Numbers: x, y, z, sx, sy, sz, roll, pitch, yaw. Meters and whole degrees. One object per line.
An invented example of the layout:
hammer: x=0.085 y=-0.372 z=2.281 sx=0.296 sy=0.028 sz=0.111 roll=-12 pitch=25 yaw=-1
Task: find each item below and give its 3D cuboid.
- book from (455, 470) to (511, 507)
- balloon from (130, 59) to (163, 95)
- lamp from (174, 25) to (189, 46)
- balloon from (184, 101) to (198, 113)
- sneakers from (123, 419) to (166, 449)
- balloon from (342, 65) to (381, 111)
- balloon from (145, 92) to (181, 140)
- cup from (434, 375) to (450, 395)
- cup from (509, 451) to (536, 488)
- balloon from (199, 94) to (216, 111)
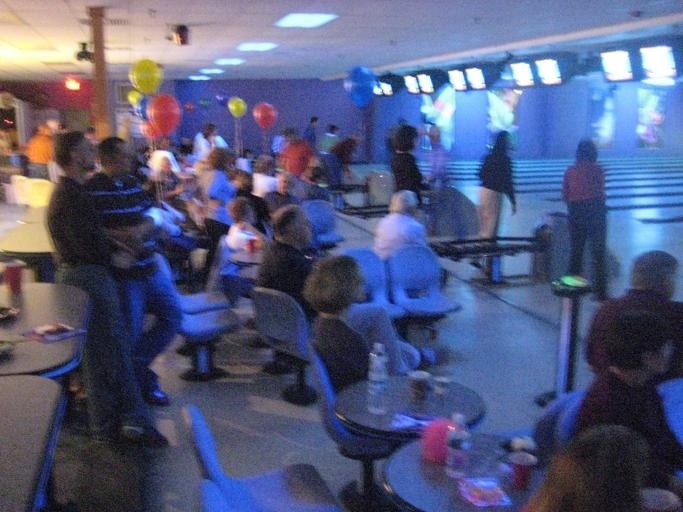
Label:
book: x=0.473 y=0.795 z=1.871 sx=0.159 sy=0.037 sz=0.145 roll=-2 pitch=7 yaw=-7
balloon: x=-2.442 y=-2.270 z=6.891 sx=0.330 sy=0.413 sz=0.398 roll=-5 pitch=8 yaw=-23
lamp: x=-2.399 y=-3.345 z=8.273 sx=0.221 sy=0.307 sz=0.400 roll=-3 pitch=8 yaw=-15
balloon: x=-4.665 y=-4.632 z=17.139 sx=0.386 sy=0.249 sz=0.442 roll=-2 pitch=6 yaw=-20
sneakers: x=-1.069 y=0.981 z=3.058 sx=0.291 sy=0.097 sz=0.109 roll=10 pitch=-5 yaw=-23
balloon: x=0.397 y=-2.548 z=8.183 sx=0.585 sy=0.637 sz=0.601 roll=0 pitch=-10 yaw=-9
balloon: x=-2.083 y=-1.636 z=6.627 sx=0.366 sy=0.553 sz=0.372 roll=12 pitch=16 yaw=39
cup: x=0.455 y=0.576 z=2.468 sx=0.077 sy=0.075 sz=0.073 roll=0 pitch=4 yaw=0
cup: x=0.613 y=0.732 z=1.892 sx=0.101 sy=0.092 sz=0.096 roll=0 pitch=14 yaw=0
balloon: x=-4.278 y=-4.804 z=17.402 sx=0.562 sy=0.531 sz=0.234 roll=-4 pitch=51 yaw=-5
